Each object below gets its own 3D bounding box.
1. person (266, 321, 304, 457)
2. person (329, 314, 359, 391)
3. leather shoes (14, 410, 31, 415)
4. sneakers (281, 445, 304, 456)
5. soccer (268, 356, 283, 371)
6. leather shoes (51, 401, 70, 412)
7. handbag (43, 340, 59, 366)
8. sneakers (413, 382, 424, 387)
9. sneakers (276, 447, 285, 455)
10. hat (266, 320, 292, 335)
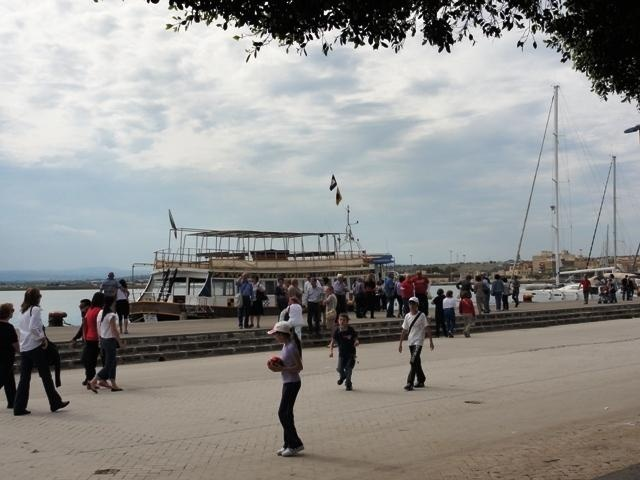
[{"bbox_3d":[-0.521,2.235,9.055,0.533,1.939,1.374,1,-1,-2],"label":"person"},{"bbox_3d":[0.537,2.464,12.999,0.586,1.649,1.135,0,-1,1],"label":"person"},{"bbox_3d":[-5.515,3.174,10.633,0.235,0.103,0.082,1,0,-8],"label":"leather shoes"},{"bbox_3d":[-0.422,3.122,8.577,0.342,0.158,0.127,8,-13,-31],"label":"sneakers"},{"bbox_3d":[-0.685,1.868,8.735,0.170,0.170,0.224,0,-14,5],"label":"soccer"},{"bbox_3d":[-4.928,3.115,10.867,0.285,0.194,0.329,1,-2,-23],"label":"leather shoes"},{"bbox_3d":[-5.341,2.186,11.174,0.306,0.406,0.644,-1,-2,-11],"label":"handbag"},{"bbox_3d":[2.196,3.183,12.752,0.221,0.096,0.331,0,-2,9],"label":"sneakers"},{"bbox_3d":[-0.588,3.130,8.556,0.059,0.071,0.160,8,-5,-44],"label":"sneakers"},{"bbox_3d":[-0.615,1.350,8.854,0.332,0.170,0.240,-2,-8,-4],"label":"hat"}]
